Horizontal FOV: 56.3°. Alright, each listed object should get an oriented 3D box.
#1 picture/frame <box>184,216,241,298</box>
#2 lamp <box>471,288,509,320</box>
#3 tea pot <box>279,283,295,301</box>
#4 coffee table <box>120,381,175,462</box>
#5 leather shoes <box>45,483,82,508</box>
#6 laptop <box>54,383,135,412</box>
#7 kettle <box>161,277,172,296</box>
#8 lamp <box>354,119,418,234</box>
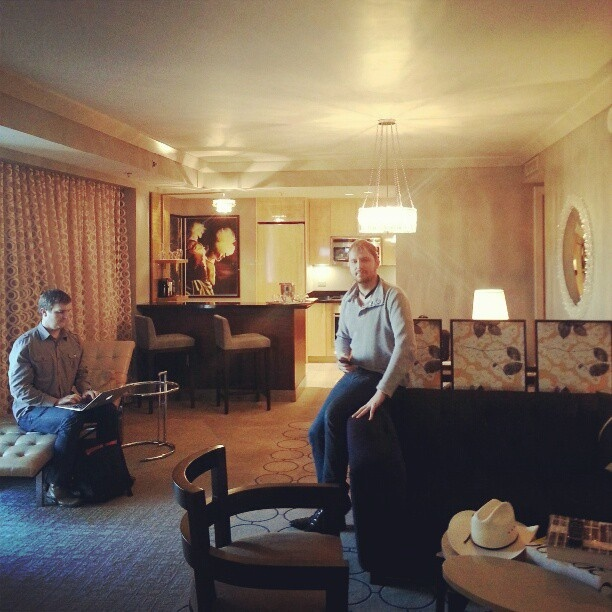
[{"bbox_3d":[-1.389,-0.744,8.787,1.101,1.755,0.060,1,4,8],"label":"picture/frame"},{"bbox_3d":[1.599,-0.008,4.975,0.219,0.244,0.270,-3,4,-20],"label":"lamp"},{"bbox_3d":[-0.218,-0.154,6.426,0.176,0.298,0.187,0,3,0],"label":"tea pot"},{"bbox_3d":[-1.350,1.004,4.907,0.523,0.658,0.539,0,-3,25],"label":"coffee table"},{"bbox_3d":[-1.467,1.164,3.539,0.222,0.155,0.112,3,-3,10],"label":"leather shoes"},{"bbox_3d":[-1.307,0.595,3.563,0.228,0.145,0.227,-31,-6,6],"label":"laptop"},{"bbox_3d":[-1.643,-0.209,6.775,0.138,0.213,0.167,-2,4,-8],"label":"kettle"},{"bbox_3d":[0.732,-1.235,5.294,0.529,0.974,0.544,-8,18,-24],"label":"lamp"}]
